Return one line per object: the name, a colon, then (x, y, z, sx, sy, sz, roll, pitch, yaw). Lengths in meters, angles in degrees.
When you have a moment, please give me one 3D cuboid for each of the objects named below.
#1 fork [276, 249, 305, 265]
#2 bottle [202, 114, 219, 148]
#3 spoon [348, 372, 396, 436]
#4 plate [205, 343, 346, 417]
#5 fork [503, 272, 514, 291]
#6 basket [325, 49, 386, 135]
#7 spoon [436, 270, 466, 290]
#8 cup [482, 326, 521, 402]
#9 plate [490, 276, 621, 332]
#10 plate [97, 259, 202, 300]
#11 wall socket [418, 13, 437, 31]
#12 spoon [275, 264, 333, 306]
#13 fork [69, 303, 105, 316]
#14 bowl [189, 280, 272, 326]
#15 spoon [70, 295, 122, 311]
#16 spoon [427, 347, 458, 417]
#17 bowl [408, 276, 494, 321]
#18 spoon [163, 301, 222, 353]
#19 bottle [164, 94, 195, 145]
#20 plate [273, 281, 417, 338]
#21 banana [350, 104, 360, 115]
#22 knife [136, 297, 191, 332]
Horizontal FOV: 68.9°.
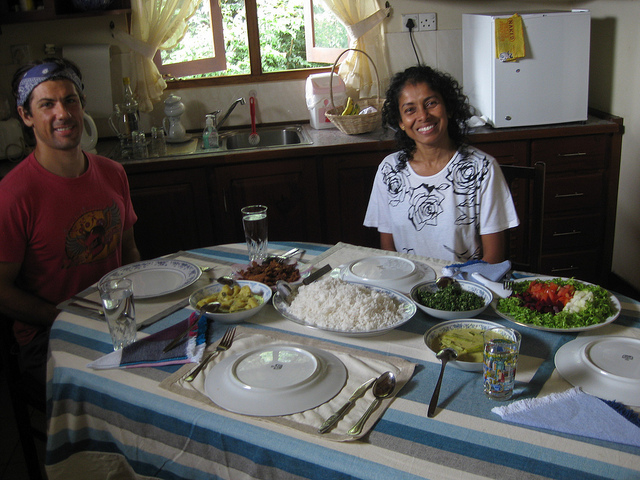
fork: (-0.109, 0.061, 1.660, 0.025, 0.019, 0.124, 28, 35, 19)
bottle: (-0.722, -0.718, 3.052, 0.104, 0.198, 0.239, -8, 17, -12)
spoon: (0.109, 0.355, 0.988, 0.041, 0.028, 0.212, 24, 34, 20)
plate: (-0.104, 0.316, 1.068, 0.325, 0.059, 0.204, -4, 17, 4)
fork: (0.558, 0.125, 1.384, 0.025, 0.048, 0.026, 14, 38, 25)
basket: (0.237, -1.016, 3.144, 0.373, 0.544, 0.678, -3, 17, 8)
spoon: (0.395, 0.116, 1.415, 0.043, 0.025, 0.141, 7, 21, 36)
cup: (0.392, 0.277, 1.024, 0.082, 0.141, 0.087, -1, 4, 0)
plate: (0.655, 0.171, 1.298, 0.299, 0.063, 0.322, 9, 22, 40)
plate: (-0.550, 0.123, 1.582, 0.181, 0.021, 0.191, 6, 29, 10)
wall socket: (0.768, -1.577, 3.343, 0.100, 0.105, 0.054, -1, 9, -1)
spoon: (-0.053, 0.129, 1.467, 0.139, 0.060, 0.080, -25, 43, -23)
fork: (-0.722, 0.214, 1.450, 0.068, 0.021, 0.067, 20, 3, -14)
bowl: (-0.260, 0.195, 1.381, 0.230, 0.086, 0.249, -3, 17, 1)
spoon: (-0.652, 0.186, 1.361, 0.135, 0.050, 0.007, 16, 40, -20)
spoon: (0.271, 0.303, 1.041, 0.045, 0.020, 0.202, -3, 44, 39)
bowl: (0.356, 0.179, 1.312, 0.225, 0.077, 0.244, -4, 17, 1)
spoon: (-0.349, 0.231, 1.285, 0.057, 0.016, 0.181, -2, 28, 36)
bottle: (-0.987, -0.832, 3.162, 0.231, 0.295, 0.226, -2, 27, 1)
plate: (0.106, 0.202, 1.279, 0.239, 0.034, 0.199, 6, 24, 16)
banana: (0.237, -0.840, 3.006, 0.056, 0.059, 0.056, -28, 5, -24)
knife: (-0.464, 0.224, 1.382, 0.018, 0.007, 0.172, 21, 39, 39)
